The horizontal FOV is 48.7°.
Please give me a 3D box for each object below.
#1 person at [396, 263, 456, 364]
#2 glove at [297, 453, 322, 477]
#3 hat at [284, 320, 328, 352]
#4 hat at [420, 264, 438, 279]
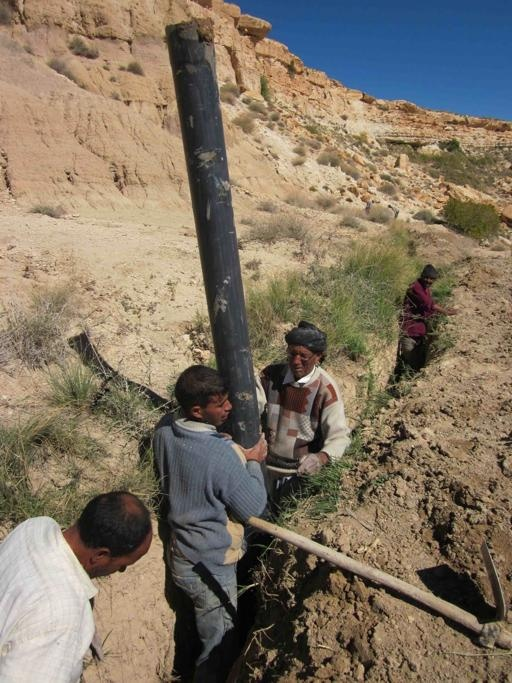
[{"bbox_3d":[1.836,-0.252,6.217,0.500,1.054,0.721,5,28,13],"label":"person"},{"bbox_3d":[0.333,0.770,3.501,0.097,0.080,0.175,-31,-6,12],"label":"glove"},{"bbox_3d":[0.328,0.002,3.527,0.179,0.126,0.222,27,1,42],"label":"hat"},{"bbox_3d":[1.910,-0.746,6.237,0.148,0.138,0.209,-3,-4,14],"label":"hat"}]
